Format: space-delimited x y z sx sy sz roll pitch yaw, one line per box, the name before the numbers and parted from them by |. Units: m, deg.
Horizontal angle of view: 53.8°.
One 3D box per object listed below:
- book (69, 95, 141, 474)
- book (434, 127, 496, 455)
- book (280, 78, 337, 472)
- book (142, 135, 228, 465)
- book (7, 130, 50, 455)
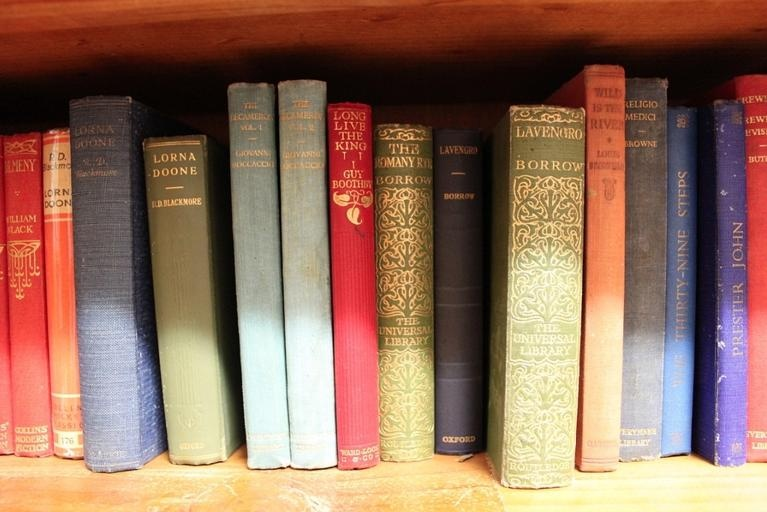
book | -0.413 0.045 1.156 0.110 0.568 0.077 -1 -3 -17
book | 0.116 0.058 1.187 0.085 0.507 0.063 -2 -3 -6
book | -0.113 0.030 1.138 0.070 0.582 0.061 -2 -3 -5
book | -0.299 0.071 1.167 0.111 0.502 0.084 -2 -3 -1
book | -0.561 0.063 1.193 0.066 0.511 0.058 -2 -3 -9
